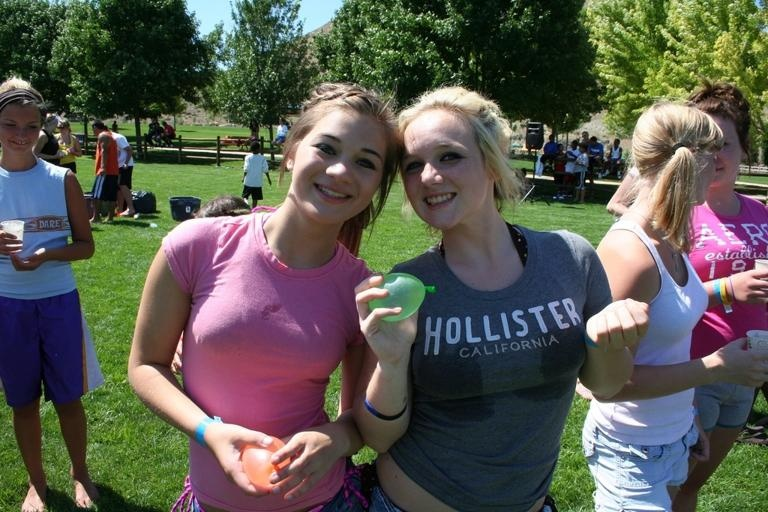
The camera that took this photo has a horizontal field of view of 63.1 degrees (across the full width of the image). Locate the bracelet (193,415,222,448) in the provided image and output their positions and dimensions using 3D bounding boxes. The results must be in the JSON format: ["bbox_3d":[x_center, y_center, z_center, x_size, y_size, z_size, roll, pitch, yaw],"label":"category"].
[{"bbox_3d":[-0.947,0.954,3.420,0.166,0.169,0.113,6,-10,-44],"label":"bracelet"}]

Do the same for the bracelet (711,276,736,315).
[{"bbox_3d":[2.540,0.304,4.670,0.139,0.263,0.197,-12,10,42],"label":"bracelet"}]

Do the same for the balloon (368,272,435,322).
[{"bbox_3d":[0.101,0.218,3.553,0.375,0.295,0.288,-11,11,-13],"label":"balloon"}]

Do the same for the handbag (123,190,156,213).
[{"bbox_3d":[-5.565,-1.221,14.431,0.516,0.525,0.490,0,-5,3],"label":"handbag"}]

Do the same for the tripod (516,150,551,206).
[{"bbox_3d":[5.685,-3.338,24.206,1.279,2.545,1.136,14,30,40],"label":"tripod"}]

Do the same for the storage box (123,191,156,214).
[{"bbox_3d":[-5.598,-1.299,14.480,0.530,0.537,0.502,1,-6,4],"label":"storage box"}]
